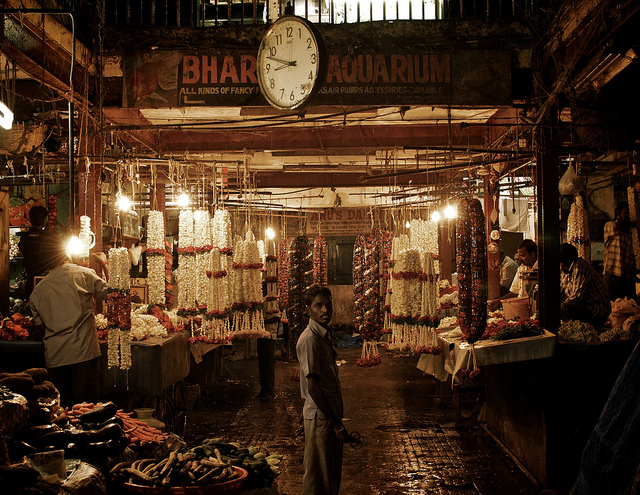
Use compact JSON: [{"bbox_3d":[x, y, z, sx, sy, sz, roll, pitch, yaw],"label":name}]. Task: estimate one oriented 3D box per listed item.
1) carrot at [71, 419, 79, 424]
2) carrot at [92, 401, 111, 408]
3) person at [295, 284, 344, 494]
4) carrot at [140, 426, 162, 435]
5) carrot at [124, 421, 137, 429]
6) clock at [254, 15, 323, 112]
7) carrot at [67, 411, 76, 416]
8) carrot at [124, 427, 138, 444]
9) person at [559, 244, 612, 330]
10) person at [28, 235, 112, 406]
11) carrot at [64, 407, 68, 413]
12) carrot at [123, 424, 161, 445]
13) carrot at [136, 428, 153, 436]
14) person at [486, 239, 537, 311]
[{"bbox_3d":[-1.933,1.379,5.730,0.049,0.050,0.053,-3,-4,6],"label":"carrot"},{"bbox_3d":[-1.791,1.275,5.873,0.146,0.027,0.017,-21,1,31],"label":"carrot"},{"bbox_3d":[-0.001,1.258,6.420,0.400,1.764,0.512,0,3,1],"label":"person"},{"bbox_3d":[-1.468,1.589,6.288,0.201,0.036,0.050,22,11,10],"label":"carrot"},{"bbox_3d":[-1.616,1.512,6.167,0.126,0.023,0.016,22,39,19],"label":"carrot"},{"bbox_3d":[-0.312,-1.847,7.265,0.774,0.909,0.161,3,4,40],"label":"clock"},{"bbox_3d":[-2.033,1.355,5.916,0.048,0.021,0.052,2,-1,7],"label":"carrot"},{"bbox_3d":[-1.570,1.573,6.045,0.094,0.075,0.132,1,-3,9],"label":"carrot"},{"bbox_3d":[3.077,0.436,8.395,0.554,0.932,0.449,1,4,24],"label":"person"},{"bbox_3d":[-2.755,0.857,8.024,0.824,1.780,0.951,-2,4,-23],"label":"person"},{"bbox_3d":[-2.105,1.356,6.021,0.037,0.018,0.064,2,1,1],"label":"carrot"},{"bbox_3d":[-1.503,1.574,6.081,0.367,0.042,0.052,31,-21,-17],"label":"carrot"},{"bbox_3d":[-1.488,1.572,6.171,0.128,0.059,0.085,-2,4,-17],"label":"carrot"},{"bbox_3d":[2.707,0.517,9.960,0.804,1.234,0.496,-2,9,-22],"label":"person"}]
